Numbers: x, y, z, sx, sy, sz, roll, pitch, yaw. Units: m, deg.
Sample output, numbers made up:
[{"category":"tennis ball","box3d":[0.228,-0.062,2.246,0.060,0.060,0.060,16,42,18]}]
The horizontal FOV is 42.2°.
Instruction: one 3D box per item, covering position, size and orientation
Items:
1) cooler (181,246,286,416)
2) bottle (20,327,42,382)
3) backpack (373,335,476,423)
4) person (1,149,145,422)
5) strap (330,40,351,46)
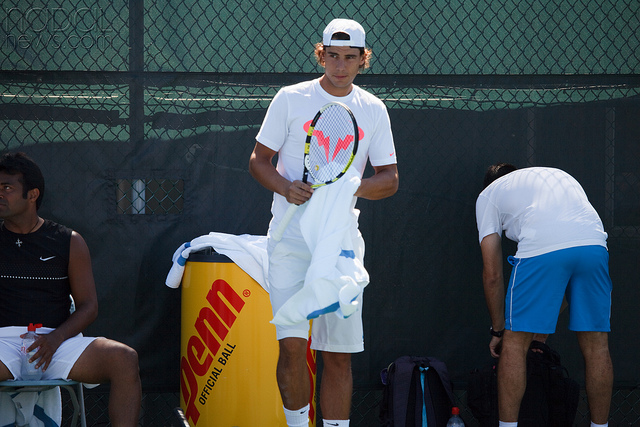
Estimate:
[{"category":"cooler","box3d":[-0.644,0.867,6.262,0.750,1.296,0.713,0,6,-3]},{"category":"bottle","box3d":[-1.893,0.925,5.478,0.139,0.342,0.158,5,-7,-41]},{"category":"backpack","box3d":[0.761,1.262,6.266,0.480,0.690,0.358,3,-24,-7]},{"category":"person","box3d":[-1.715,0.481,5.596,0.884,1.806,0.429,1,-6,-17]},{"category":"strap","box3d":[0.132,-1.080,5.246,0.127,0.040,0.017,-1,-5,1]}]
